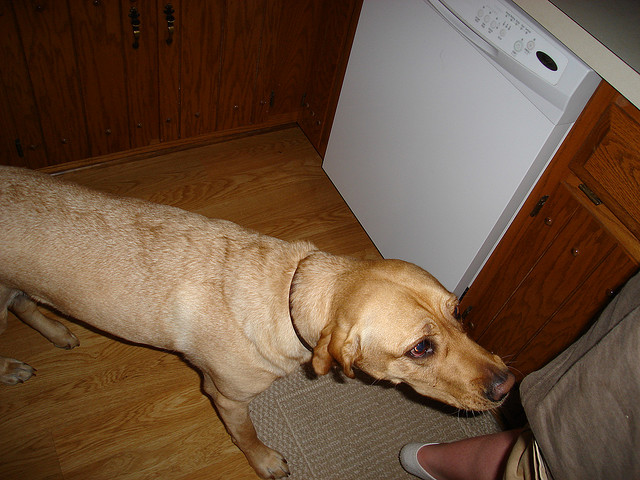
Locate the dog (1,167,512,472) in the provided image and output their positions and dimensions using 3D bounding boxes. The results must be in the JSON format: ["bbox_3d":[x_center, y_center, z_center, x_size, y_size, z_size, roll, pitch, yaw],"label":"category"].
[{"bbox_3d":[-0.280,0.442,1.965,2.137,0.960,0.517,17,73,-8],"label":"dog"}]

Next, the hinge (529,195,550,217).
[{"bbox_3d":[0.989,-0.159,1.919,0.034,0.127,0.015,30,46,15],"label":"hinge"}]

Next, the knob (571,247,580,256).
[{"bbox_3d":[1.095,0.049,1.824,0.008,0.029,0.028,-10,20,-44],"label":"knob"}]

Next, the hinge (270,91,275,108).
[{"bbox_3d":[-0.353,-1.057,3.169,0.038,0.117,0.007,-25,56,-34],"label":"hinge"}]
